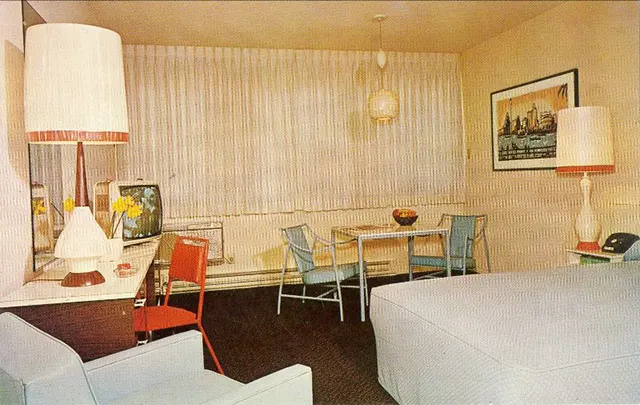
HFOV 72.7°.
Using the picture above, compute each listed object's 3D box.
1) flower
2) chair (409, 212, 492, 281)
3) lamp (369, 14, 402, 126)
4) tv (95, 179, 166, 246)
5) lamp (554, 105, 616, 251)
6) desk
[{"bbox_3d":[-1.710,0.054,3.616,0.481,0.511,0.473,1,3,1],"label":"flower"},{"bbox_3d":[1.667,0.619,5.522,0.749,0.829,0.873,-1,2,42],"label":"chair"},{"bbox_3d":[0.787,-1.658,5.735,0.407,1.304,1.199,-6,12,11],"label":"lamp"},{"bbox_3d":[-1.776,0.108,4.037,0.410,0.642,0.695,0,2,9],"label":"tv"},{"bbox_3d":[2.659,-0.231,4.381,0.586,1.436,0.461,-20,17,-42],"label":"lamp"},{"bbox_3d":[0.843,0.790,5.391,1.139,0.910,1.256,-1,-2,-6],"label":"desk"}]
